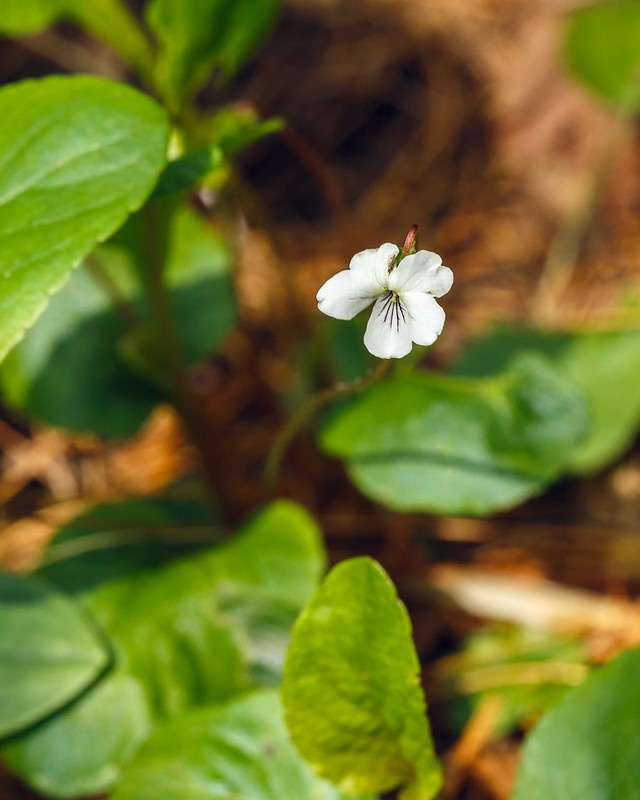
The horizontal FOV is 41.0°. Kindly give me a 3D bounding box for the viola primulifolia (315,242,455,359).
[{"bbox_3d":[0.068,-0.105,0.874,0.125,0.106,0.086,13,47,9],"label":"viola primulifolia"}]
